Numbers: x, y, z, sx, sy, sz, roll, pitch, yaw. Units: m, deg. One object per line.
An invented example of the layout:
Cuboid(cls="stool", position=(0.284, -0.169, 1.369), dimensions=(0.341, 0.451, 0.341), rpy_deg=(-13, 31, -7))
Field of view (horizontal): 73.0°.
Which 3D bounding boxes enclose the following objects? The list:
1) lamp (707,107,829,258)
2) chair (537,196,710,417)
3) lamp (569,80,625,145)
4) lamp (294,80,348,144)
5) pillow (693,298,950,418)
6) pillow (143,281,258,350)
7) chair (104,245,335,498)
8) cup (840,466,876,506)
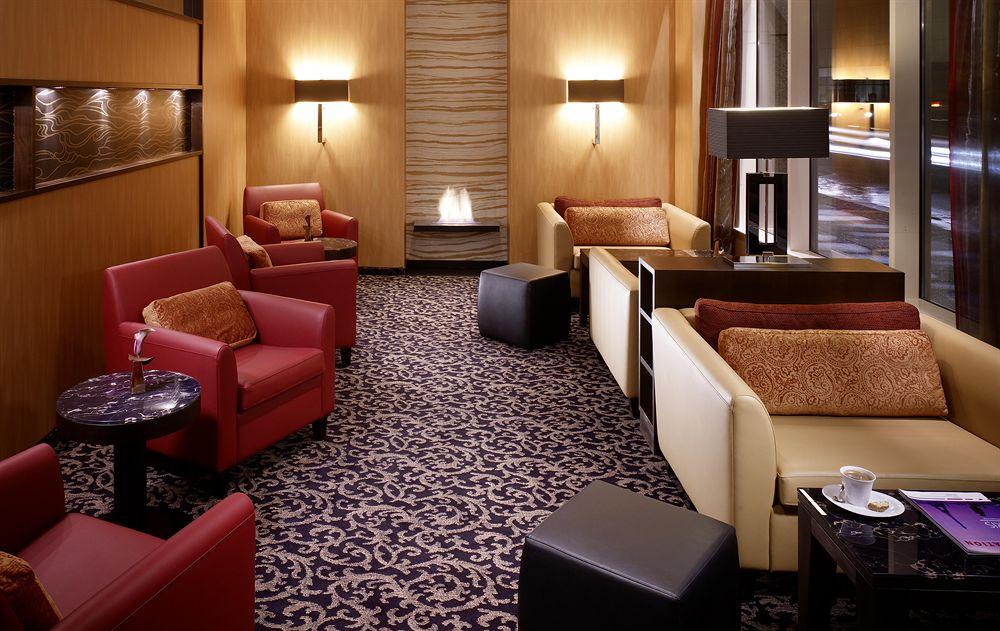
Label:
Cuboid(cls="lamp", position=(2.178, -1.057, 4.871), dimensions=(1.107, 1.058, 0.655), rpy_deg=(-12, 15, -30))
Cuboid(cls="chair", position=(0.977, -0.055, 5.571), dimensions=(0.565, 0.746, 1.888), rpy_deg=(-2, 16, -10))
Cuboid(cls="lamp", position=(1.207, -2.581, 8.458), dimensions=(0.721, 0.819, 0.201), rpy_deg=(1, 21, 3))
Cuboid(cls="lamp", position=(-2.326, -2.599, 8.729), dimensions=(0.702, 0.832, 0.485), rpy_deg=(-5, 14, -18))
Cuboid(cls="pillow", position=(1.884, 0.244, 4.202), dimensions=(1.175, 0.665, 0.450), rpy_deg=(-1, -1, 0))
Cuboid(cls="pillow", position=(-2.124, -0.055, 4.664), dimensions=(0.484, 0.259, 0.827), rpy_deg=(32, 19, 36))
Cuboid(cls="chair", position=(-1.883, 0.256, 4.554), dimensions=(1.270, 1.165, 1.326), rpy_deg=(5, 14, 4))
Cuboid(cls="cup", position=(1.553, 0.732, 2.944), dimensions=(0.144, 0.113, 0.141), rpy_deg=(1, 8, 0))
